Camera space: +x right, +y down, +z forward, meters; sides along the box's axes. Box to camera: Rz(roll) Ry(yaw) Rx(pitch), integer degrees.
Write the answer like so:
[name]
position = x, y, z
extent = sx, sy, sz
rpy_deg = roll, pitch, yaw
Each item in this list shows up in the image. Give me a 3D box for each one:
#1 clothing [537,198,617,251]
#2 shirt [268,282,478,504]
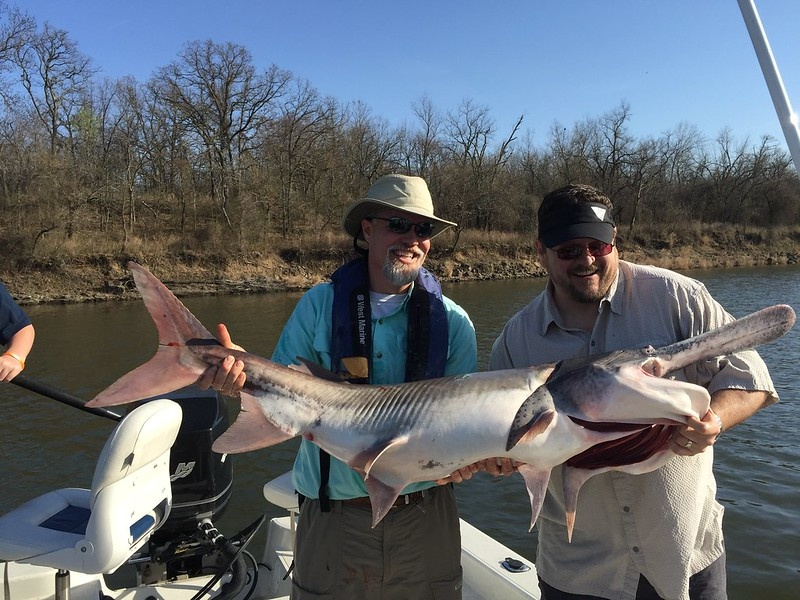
[clothing]
position = 1.523, -0.701, 6.151
extent = 0.703, 0.367, 0.903
rpy_deg = -6, 12, -13
[shirt]
position = -0.422, 0.669, 5.803
extent = 1.502, 2.140, 0.627
rpy_deg = 2, -1, 0
